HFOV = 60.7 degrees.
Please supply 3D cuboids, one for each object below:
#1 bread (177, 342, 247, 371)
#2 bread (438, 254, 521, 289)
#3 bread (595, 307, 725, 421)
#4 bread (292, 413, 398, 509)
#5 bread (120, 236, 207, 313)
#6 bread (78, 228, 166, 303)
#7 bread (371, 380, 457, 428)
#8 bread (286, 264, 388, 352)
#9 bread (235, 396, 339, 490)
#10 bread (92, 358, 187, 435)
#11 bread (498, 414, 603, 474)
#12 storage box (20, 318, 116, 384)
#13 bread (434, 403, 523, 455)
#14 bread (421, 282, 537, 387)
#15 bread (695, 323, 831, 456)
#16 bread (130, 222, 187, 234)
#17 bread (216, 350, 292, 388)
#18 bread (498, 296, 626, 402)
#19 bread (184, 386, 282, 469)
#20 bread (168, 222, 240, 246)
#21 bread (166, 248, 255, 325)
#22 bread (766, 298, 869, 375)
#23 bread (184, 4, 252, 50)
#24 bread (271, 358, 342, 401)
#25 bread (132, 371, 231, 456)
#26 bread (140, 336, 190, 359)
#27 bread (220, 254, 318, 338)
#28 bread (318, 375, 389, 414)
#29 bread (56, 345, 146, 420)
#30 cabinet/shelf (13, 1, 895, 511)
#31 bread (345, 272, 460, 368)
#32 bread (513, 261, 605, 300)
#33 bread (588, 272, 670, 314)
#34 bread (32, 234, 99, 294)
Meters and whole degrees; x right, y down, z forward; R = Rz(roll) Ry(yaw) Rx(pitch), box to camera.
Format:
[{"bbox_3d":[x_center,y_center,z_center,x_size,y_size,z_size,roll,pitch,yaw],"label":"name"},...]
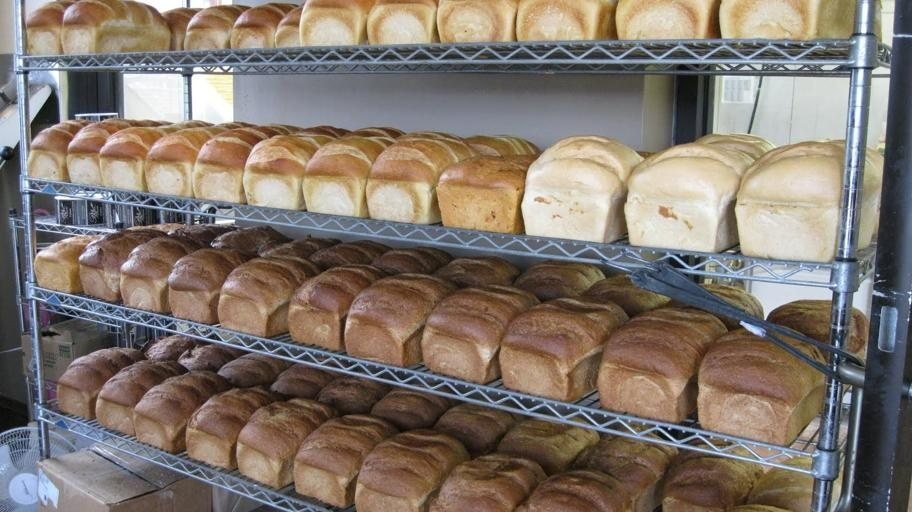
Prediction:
[{"bbox_3d":[-1.388,0.571,4.389,0.288,0.205,0.077,3,-77,31],"label":"bread"},{"bbox_3d":[0.103,0.081,3.958,0.241,0.228,0.063,5,-79,26],"label":"bread"},{"bbox_3d":[1.001,0.441,3.575,0.478,0.714,0.338,10,-69,43],"label":"bread"},{"bbox_3d":[-0.582,0.945,3.842,0.432,0.543,0.264,11,-78,27],"label":"bread"},{"bbox_3d":[-1.521,0.056,4.292,0.404,0.547,0.327,3,-73,30],"label":"bread"},{"bbox_3d":[-1.928,0.086,4.369,0.482,0.432,0.233,12,-91,18],"label":"bread"},{"bbox_3d":[-0.196,0.763,4.090,0.452,0.440,0.104,-2,-82,14],"label":"bread"},{"bbox_3d":[-0.503,0.255,3.956,0.406,0.554,0.288,6,-82,48],"label":"bread"},{"bbox_3d":[-0.853,0.907,4.014,0.390,0.563,0.277,15,-66,32],"label":"bread"},{"bbox_3d":[-1.726,0.711,4.251,0.405,0.504,0.273,12,-79,13],"label":"bread"},{"bbox_3d":[0.487,0.911,3.881,0.518,0.508,0.108,-5,-83,17],"label":"bread"},{"bbox_3d":[-2.465,0.562,4.996,0.535,0.511,0.345,10,-74,29],"label":"storage box"},{"bbox_3d":[0.103,0.810,3.873,0.274,0.324,0.136,5,-84,33],"label":"bread"},{"bbox_3d":[0.130,0.345,3.800,0.426,0.582,0.304,15,-74,26],"label":"bread"},{"bbox_3d":[1.288,0.521,3.402,0.437,0.570,0.297,0,-75,37],"label":"bread"},{"bbox_3d":[-1.723,-0.166,4.571,0.152,0.157,0.035,5,-81,36],"label":"bread"},{"bbox_3d":[-1.133,0.613,4.337,0.282,0.360,0.092,16,-75,18],"label":"bread"},{"bbox_3d":[0.513,0.422,3.664,0.435,0.619,0.270,11,-78,44],"label":"bread"},{"bbox_3d":[-1.127,0.862,4.087,0.381,0.505,0.259,4,-76,36],"label":"bread"},{"bbox_3d":[-1.465,-0.134,4.484,0.179,0.232,0.059,5,-81,32],"label":"bread"},{"bbox_3d":[-1.260,0.182,4.154,0.495,0.507,0.278,8,-85,58],"label":"bread"},{"bbox_3d":[1.636,0.332,3.508,0.371,0.370,0.166,8,-83,24],"label":"bread"},{"bbox_3d":[-1.232,-1.185,4.064,0.224,0.412,0.134,16,-64,12],"label":"bread"},{"bbox_3d":[-0.800,0.682,4.257,0.330,0.318,0.081,12,-78,-11],"label":"bread"},{"bbox_3d":[-1.462,0.788,4.158,0.349,0.431,0.229,9,-68,24],"label":"bread"},{"bbox_3d":[-1.655,0.496,4.504,0.171,0.197,0.054,3,-76,18],"label":"bread"},{"bbox_3d":[-0.930,0.175,4.078,0.404,0.546,0.299,11,-73,26],"label":"bread"},{"bbox_3d":[-0.553,0.728,4.079,0.224,0.263,0.116,3,-89,22],"label":"bread"},{"bbox_3d":[-1.990,0.661,4.374,0.412,0.497,0.272,14,-79,14],"label":"bread"},{"bbox_3d":[0.042,0.023,3.681,2.995,0.988,2.354,8,-67,22],"label":"cabinet/shelf"},{"bbox_3d":[-0.175,0.275,3.883,0.453,0.658,0.309,16,-66,48],"label":"bread"},{"bbox_3d":[0.538,0.113,3.905,0.240,0.324,0.087,2,-82,39],"label":"bread"},{"bbox_3d":[0.812,0.148,3.763,0.254,0.269,0.067,7,-80,43],"label":"bread"},{"bbox_3d":[-2.138,0.017,4.508,0.355,0.458,0.240,5,-77,36],"label":"bread"}]
